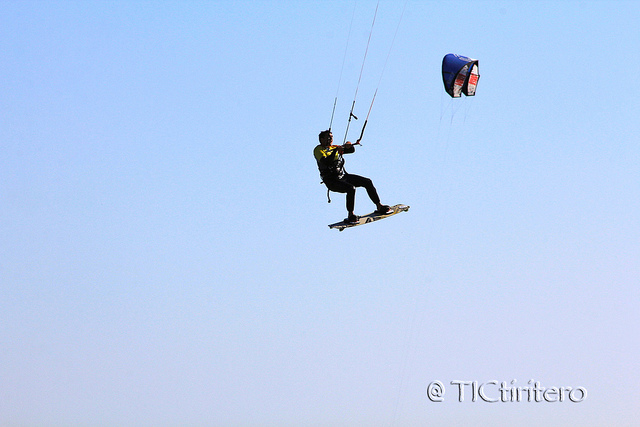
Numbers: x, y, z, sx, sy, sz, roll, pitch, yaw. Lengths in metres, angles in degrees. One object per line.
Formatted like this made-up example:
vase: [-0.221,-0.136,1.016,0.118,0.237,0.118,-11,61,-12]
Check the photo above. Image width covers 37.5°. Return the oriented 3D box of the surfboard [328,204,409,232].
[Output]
surfboard: [1.017,0.189,21.147,1.388,0.325,0.197,-21,-52,-24]
